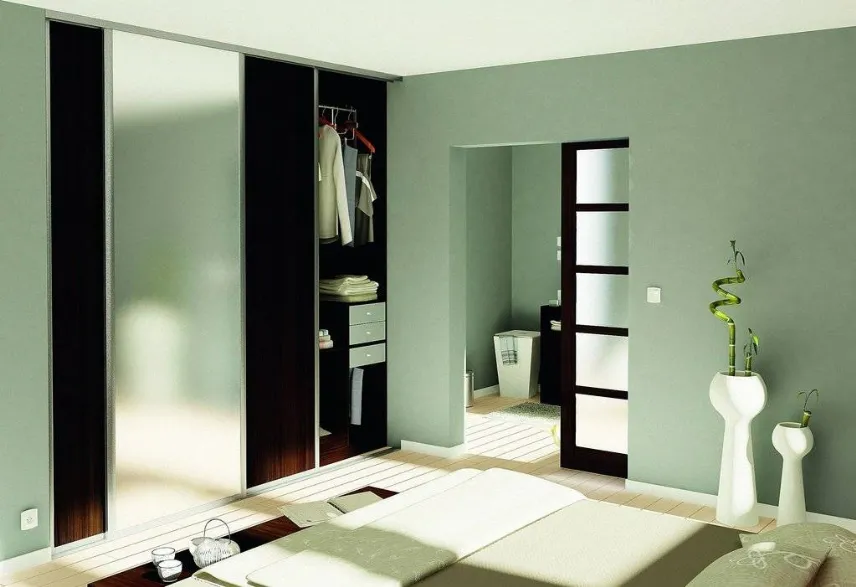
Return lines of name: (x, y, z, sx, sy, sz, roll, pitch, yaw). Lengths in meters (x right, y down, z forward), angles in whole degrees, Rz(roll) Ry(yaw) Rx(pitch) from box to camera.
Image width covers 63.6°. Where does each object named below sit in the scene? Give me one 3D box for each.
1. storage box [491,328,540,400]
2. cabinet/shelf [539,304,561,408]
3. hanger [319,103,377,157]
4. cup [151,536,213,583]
storage box: (1.042, 0.842, 8.109, 0.526, 0.737, 0.360, -2, 9, 4)
cabinet/shelf: (1.368, 0.688, 7.752, 0.209, 1.050, 0.373, -1, 9, 6)
hanger: (-0.718, -1.440, 6.019, 0.176, 0.351, 0.565, 2, 3, 38)
cup: (-1.191, 1.291, 3.380, 0.141, 0.115, 0.295, -3, -6, 31)
